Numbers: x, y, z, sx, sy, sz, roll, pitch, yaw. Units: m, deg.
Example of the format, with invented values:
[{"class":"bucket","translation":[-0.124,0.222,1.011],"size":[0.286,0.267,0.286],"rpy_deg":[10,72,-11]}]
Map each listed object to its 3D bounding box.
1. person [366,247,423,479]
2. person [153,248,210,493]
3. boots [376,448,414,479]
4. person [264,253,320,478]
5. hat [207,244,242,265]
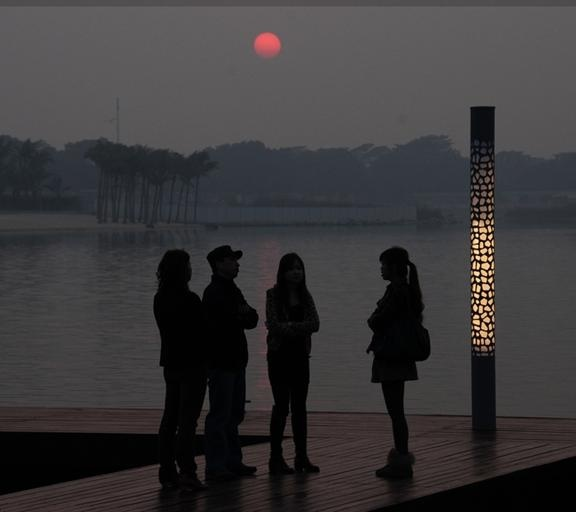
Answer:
[{"class":"person","translation":[1.622,1.626,19.486],"size":[0.836,3.541,0.260],"rpy_deg":[1,1,3]},{"class":"person","translation":[-1.637,1.705,19.234],"size":[0.793,3.626,0.219],"rpy_deg":[0,1,-4]},{"class":"boots","translation":[1.729,3.217,19.547],"size":[0.726,0.496,0.303],"rpy_deg":[1,-2,12]},{"class":"person","translation":[0.037,1.649,19.541],"size":[0.801,3.415,0.302],"rpy_deg":[0,1,1]},{"class":"hat","translation":[-0.987,-0.049,19.412],"size":[0.429,0.135,0.309],"rpy_deg":[-10,2,-8]}]
